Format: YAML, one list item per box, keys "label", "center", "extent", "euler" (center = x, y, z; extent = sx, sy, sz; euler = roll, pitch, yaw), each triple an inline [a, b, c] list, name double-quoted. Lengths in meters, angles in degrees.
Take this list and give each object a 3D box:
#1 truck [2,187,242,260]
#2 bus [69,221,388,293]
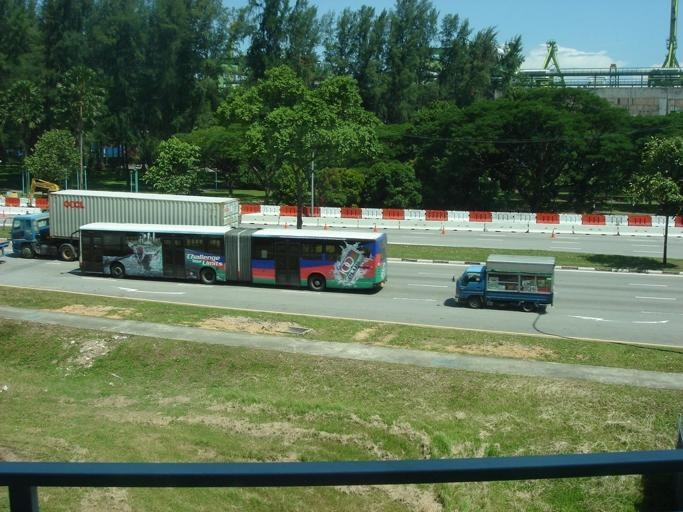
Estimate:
- label: "truck"
  center: [-16.227, -1.903, 63.275]
  extent: [14.986, 4.331, 3.443]
  euler: [1, 6, -31]
- label: "bus"
  center: [-6.707, 0.246, 54.957]
  extent: [18.039, 3.627, 1.878]
  euler: [1, 2, 5]
